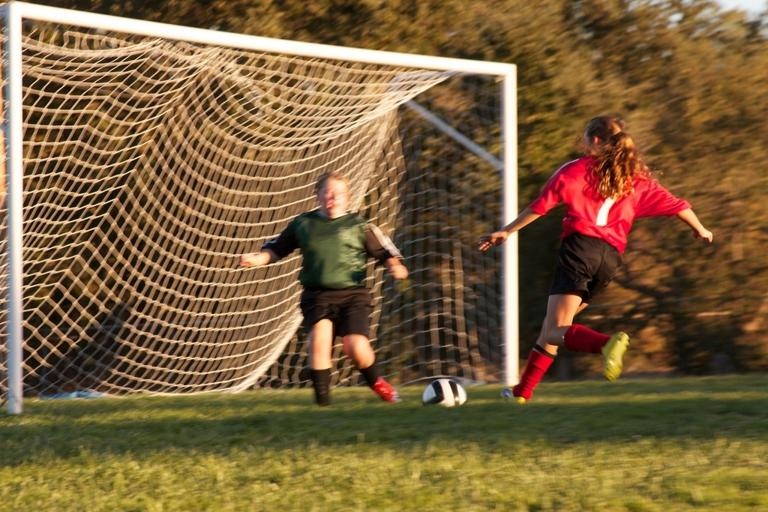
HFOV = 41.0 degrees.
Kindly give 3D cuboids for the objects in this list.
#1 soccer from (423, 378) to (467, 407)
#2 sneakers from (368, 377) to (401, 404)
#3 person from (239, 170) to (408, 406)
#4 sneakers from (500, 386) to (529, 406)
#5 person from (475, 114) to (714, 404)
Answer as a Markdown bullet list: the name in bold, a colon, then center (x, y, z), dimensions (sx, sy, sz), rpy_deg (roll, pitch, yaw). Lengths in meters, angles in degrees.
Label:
- **soccer**: center (0.479, 1.104, 8.282), dimensions (0.296, 0.130, 0.280), rpy_deg (3, -5, -2)
- **sneakers**: center (0.008, 1.090, 8.376), dimensions (0.316, 0.149, 0.123), rpy_deg (36, 7, -15)
- **person**: center (-0.446, 0.242, 8.220), dimensions (1.175, 1.896, 0.434), rpy_deg (4, -11, -4)
- **sneakers**: center (1.043, 1.146, 8.426), dimensions (0.257, 0.095, 0.100), rpy_deg (31, 19, 35)
- **person**: center (1.594, -0.068, 8.031), dimensions (1.319, 2.118, 0.605), rpy_deg (-1, -12, 22)
